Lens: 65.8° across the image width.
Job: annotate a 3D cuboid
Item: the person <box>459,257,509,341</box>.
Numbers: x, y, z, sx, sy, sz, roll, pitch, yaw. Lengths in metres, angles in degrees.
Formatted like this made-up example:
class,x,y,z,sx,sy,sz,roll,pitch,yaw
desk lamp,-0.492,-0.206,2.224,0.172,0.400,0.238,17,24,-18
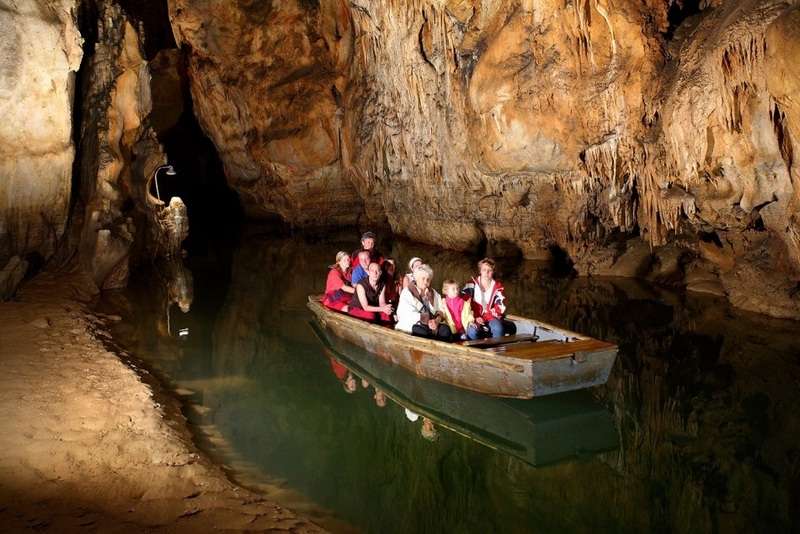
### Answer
class,x,y,z,sx,sy,sz,roll,pitch,yaw
person,1.216,0.560,8.833,0.603,1.313,0.706,-6,18,-8

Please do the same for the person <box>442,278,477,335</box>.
class,x,y,z,sx,sy,sz,roll,pitch,yaw
person,0.821,0.584,8.711,0.432,0.760,0.202,-12,3,32

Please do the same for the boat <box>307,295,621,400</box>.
class,x,y,z,sx,sy,sz,roll,pitch,yaw
boat,0.889,1.165,8.445,1.527,0.469,2.780,-3,6,-37
